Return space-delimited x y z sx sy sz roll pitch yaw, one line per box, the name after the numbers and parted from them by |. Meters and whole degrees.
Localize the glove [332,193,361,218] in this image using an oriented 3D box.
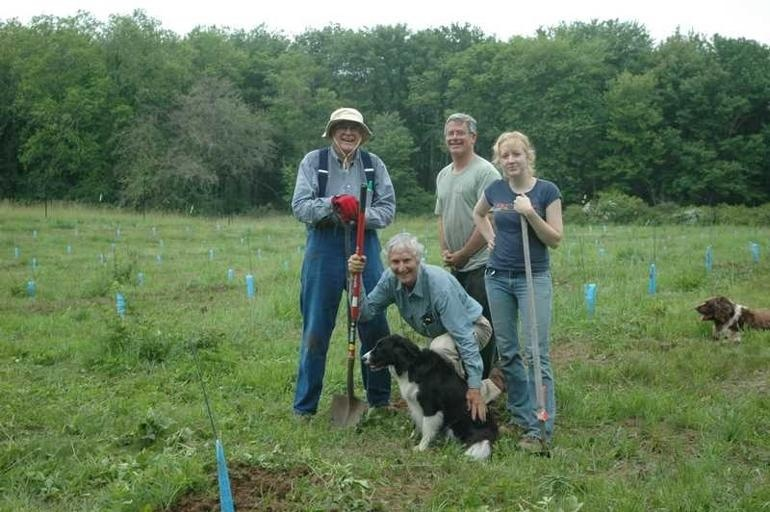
-1.015 -1.299 23.429 0.490 0.533 0.663 10 5 8 | glove
